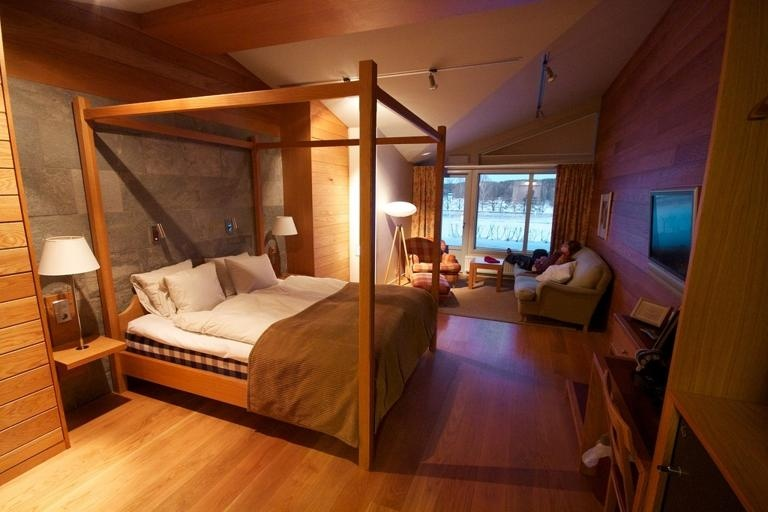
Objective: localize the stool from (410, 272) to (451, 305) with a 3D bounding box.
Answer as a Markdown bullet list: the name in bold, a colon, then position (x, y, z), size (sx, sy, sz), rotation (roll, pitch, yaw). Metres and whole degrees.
- **stool**: position (0.668, 0.436, 7.328), size (0.507, 0.239, 0.457), rotation (4, 7, 7)

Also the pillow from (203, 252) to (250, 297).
- **pillow**: position (-1.741, 0.211, 5.531), size (0.134, 0.406, 0.454), rotation (-10, 2, 38)

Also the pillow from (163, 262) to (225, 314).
- **pillow**: position (-1.930, 0.337, 5.137), size (0.307, 0.440, 0.639), rotation (11, 19, 24)

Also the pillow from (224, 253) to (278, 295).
- **pillow**: position (-1.495, 0.215, 5.561), size (0.165, 0.293, 0.441), rotation (-14, -3, 34)

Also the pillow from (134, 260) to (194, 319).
- **pillow**: position (-2.152, 0.341, 4.931), size (0.146, 0.457, 0.474), rotation (-12, 4, 30)

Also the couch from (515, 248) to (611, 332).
- **couch**: position (2.324, 0.447, 6.733), size (1.146, 0.890, 1.033), rotation (0, 7, 13)

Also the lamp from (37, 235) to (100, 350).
- **lamp**: position (-2.720, 0.327, 4.359), size (0.424, 0.993, 0.420), rotation (-9, 11, -42)
